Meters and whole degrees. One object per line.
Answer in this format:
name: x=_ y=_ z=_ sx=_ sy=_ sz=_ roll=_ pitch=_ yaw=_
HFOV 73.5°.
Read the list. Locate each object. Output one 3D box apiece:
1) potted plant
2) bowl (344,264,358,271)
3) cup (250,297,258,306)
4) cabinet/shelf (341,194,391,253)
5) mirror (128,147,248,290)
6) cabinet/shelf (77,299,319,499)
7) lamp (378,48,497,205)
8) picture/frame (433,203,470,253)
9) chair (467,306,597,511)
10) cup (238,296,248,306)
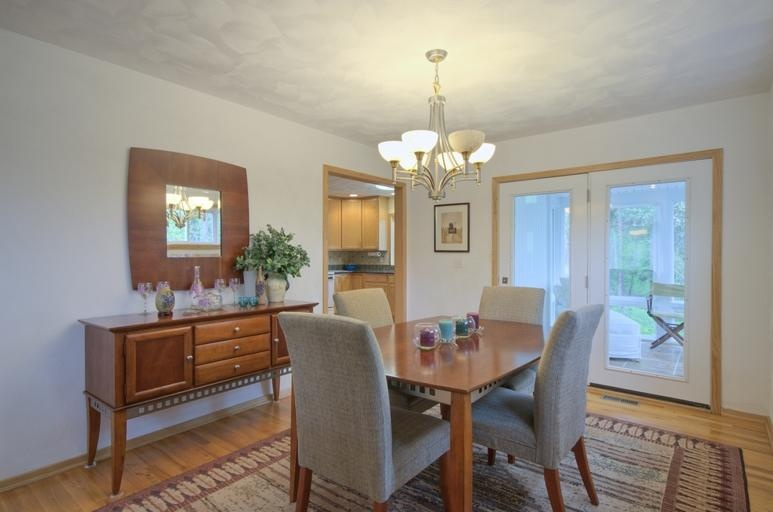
potted plant: x=-1.107 y=0.078 z=5.042 sx=0.729 sy=0.692 sz=0.678 roll=-5 pitch=-7 yaw=21
bowl: x=-0.716 y=0.216 z=10.328 sx=0.157 sy=0.075 sz=0.159 roll=-1 pitch=-6 yaw=0
cup: x=-1.177 y=0.388 z=4.637 sx=0.062 sy=0.060 sz=0.061 roll=-3 pitch=-5 yaw=0
cabinet/shelf: x=-0.364 y=-0.655 z=9.865 sx=1.042 sy=1.158 sz=0.440 roll=-1 pitch=-1 yaw=29
mirror: x=-1.808 y=-0.322 z=4.613 sx=0.068 sy=1.626 sz=1.335 roll=-1 pitch=-1 yaw=45
cabinet/shelf: x=-1.568 y=1.063 z=4.698 sx=0.642 sy=1.202 sz=1.932 roll=6 pitch=6 yaw=39
lamp: x=0.501 y=-1.224 z=4.747 sx=1.162 sy=1.339 sz=1.019 roll=1 pitch=-1 yaw=-20
picture/frame: x=0.829 y=-0.359 z=6.443 sx=0.614 sy=0.756 sz=0.027 roll=1 pitch=2 yaw=38
chair: x=1.077 y=1.069 z=3.678 sx=0.917 sy=1.446 sz=0.519 roll=-1 pitch=4 yaw=12
cup: x=-1.286 y=0.395 z=4.664 sx=0.075 sy=0.078 sz=0.077 roll=-1 pitch=-6 yaw=0
